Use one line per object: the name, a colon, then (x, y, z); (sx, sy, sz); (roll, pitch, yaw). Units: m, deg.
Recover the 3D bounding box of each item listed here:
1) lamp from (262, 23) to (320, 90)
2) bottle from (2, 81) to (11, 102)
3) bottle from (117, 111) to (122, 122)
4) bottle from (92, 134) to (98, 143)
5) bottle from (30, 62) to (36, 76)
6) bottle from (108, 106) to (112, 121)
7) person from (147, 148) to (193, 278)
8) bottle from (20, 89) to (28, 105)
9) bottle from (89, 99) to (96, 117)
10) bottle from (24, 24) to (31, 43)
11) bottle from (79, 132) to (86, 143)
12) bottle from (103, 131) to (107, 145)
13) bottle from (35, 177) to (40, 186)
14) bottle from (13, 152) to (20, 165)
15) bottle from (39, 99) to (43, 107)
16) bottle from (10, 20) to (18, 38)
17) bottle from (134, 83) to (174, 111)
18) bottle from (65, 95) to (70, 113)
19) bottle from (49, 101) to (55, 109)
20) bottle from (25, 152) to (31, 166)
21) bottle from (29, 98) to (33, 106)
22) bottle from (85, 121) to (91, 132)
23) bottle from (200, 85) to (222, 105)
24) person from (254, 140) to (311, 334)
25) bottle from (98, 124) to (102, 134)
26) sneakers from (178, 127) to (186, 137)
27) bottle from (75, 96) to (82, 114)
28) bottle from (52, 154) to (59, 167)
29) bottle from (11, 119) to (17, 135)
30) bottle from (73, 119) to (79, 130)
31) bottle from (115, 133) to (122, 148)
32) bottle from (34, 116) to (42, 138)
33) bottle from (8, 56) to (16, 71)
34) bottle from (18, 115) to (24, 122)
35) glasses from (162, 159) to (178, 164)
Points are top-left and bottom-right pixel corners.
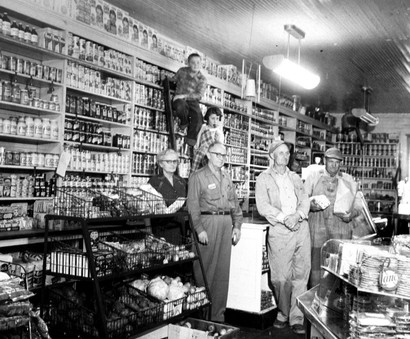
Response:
lamp: (1.644, -1.942, 6.436); (0.848, 0.848, 1.981); (0, -1, 20)
bottle: (-2.136, -0.840, 3.748); (0.094, 0.211, 0.049); (2, -2, -35)
bottle: (-1.224, -0.761, 4.997); (0.077, 0.162, 0.057); (1, -2, -26)
bottle: (-1.466, -0.417, 4.634); (0.067, 0.153, 0.072); (1, -7, 0)
bottle: (-1.945, -1.128, 3.925); (0.040, 0.160, 0.076); (-1, -2, 43)
bottle: (-1.323, -0.773, 4.811); (0.063, 0.195, 0.039); (1, -2, -24)
person: (-0.377, 0.459, 3.708); (0.474, 1.360, 0.874); (1, -2, -10)
bottle: (-2.013, -0.806, 3.887); (0.084, 0.176, 0.060); (2, -2, -35)
bottle: (-1.475, -0.798, 4.570); (0.020, 0.218, 0.094); (-1, -2, 34)
bottle: (-1.984, -1.513, 3.895); (0.075, 0.215, 0.117); (1, -2, -28)
bottle: (-1.577, -0.409, 4.477); (0.014, 0.131, 0.098); (0, -2, 21)
bottle: (-1.373, -0.423, 4.767); (0.015, 0.167, 0.051); (-1, -2, 35)
bottle: (-1.931, 0.144, 4.011); (0.051, 0.101, 0.027); (1, -2, -16)
bottle: (-2.098, -0.126, 3.867); (0.071, 0.139, 0.032); (2, -2, -40)
bottle: (-1.888, -0.757, 4.006); (0.042, 0.107, 0.055); (2, -2, -36)
bottle: (-2.071, -1.516, 3.777); (0.082, 0.194, 0.065); (2, -2, -37)
bottle: (-0.855, -1.106, 5.298); (0.070, 0.351, 0.582); (-1, -2, 42)
bottle: (-1.702, -0.817, 4.307); (0.030, 0.221, 0.056); (-1, -2, 43)
bottle: (-1.801, -0.747, 4.094); (0.063, 0.102, 0.036); (1, -2, -30)
bottle: (-1.998, -0.113, 3.943); (0.059, 0.146, 0.024); (2, -2, -35)
bottle: (-1.975, -0.767, 3.938); (0.037, 0.091, 0.045); (1, -2, -15)
bottle: (-1.530, -0.550, 4.563); (0.011, 0.124, 0.092); (-1, -2, 30)
bottle: (0.112, -1.293, 6.502); (0.281, 0.474, 0.394); (-5, -9, 44)
person: (0.886, 0.842, 3.989); (0.610, 1.855, 0.416); (0, -2, 13)
bottle: (-1.426, -0.547, 4.720); (0.031, 0.125, 0.113); (0, -2, 14)
sneakers: (-0.373, -0.613, 5.676); (0.096, 0.175, 0.158); (2, -7, 2)
bottle: (-1.595, -0.804, 4.416); (0.022, 0.219, 0.095); (-1, -2, 30)
bottle: (-1.771, -0.100, 4.122); (0.079, 0.165, 0.035); (2, -2, -37)
bottle: (-2.095, -0.471, 3.819); (0.026, 0.166, 0.079); (0, -2, 11)
bottle: (-1.632, -0.559, 4.391); (0.015, 0.130, 0.077); (-1, -2, 36)
bottle: (-1.220, -0.402, 4.925); (0.102, 0.187, 0.060); (1, -2, -22)
bottle: (-1.923, -0.478, 4.006); (0.088, 0.217, 0.047); (2, -2, -33)
bottle: (-2.090, -1.143, 3.767); (0.086, 0.169, 0.062); (2, -2, -35)
bottle: (-2.067, -0.572, 3.921); (0.050, 0.076, 0.058); (0, -1, 1)
glasses: (-0.379, -0.085, 3.750); (0.160, 0.042, 0.062); (1, -1, -18)
